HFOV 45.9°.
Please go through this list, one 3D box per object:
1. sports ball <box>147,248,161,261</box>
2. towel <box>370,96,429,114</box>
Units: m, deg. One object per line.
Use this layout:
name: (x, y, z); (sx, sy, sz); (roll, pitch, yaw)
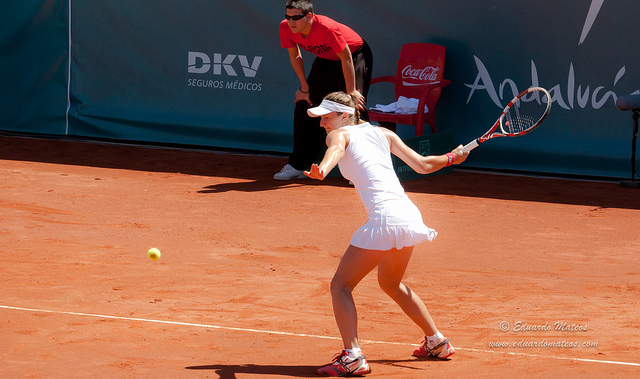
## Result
sports ball: (-2.059, 0.809, 9.368); (0.142, 0.148, 0.114); (5, 9, -12)
towel: (1.319, -1.436, 12.924); (0.761, 0.303, 0.438); (8, 8, 13)
